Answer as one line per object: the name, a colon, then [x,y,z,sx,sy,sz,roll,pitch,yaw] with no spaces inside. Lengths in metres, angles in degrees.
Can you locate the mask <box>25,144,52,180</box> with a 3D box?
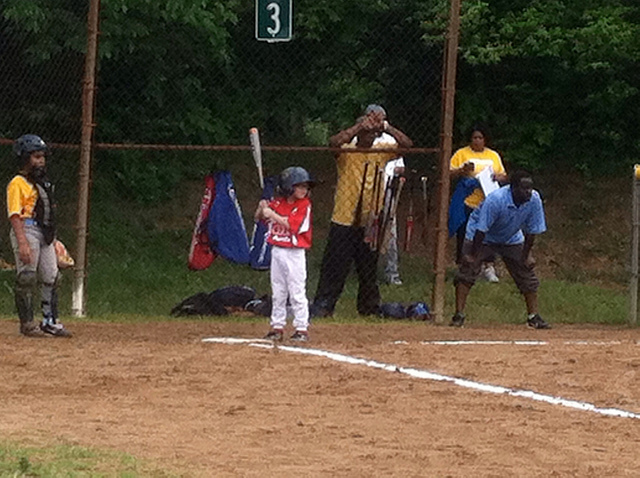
mask: [-3.093,-0.849,13.435,0.161,0.380,0.332,5,13,21]

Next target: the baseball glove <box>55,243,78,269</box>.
baseball glove: [-3.133,0.236,15.088,0.124,0.328,0.241,-20,-4,32]

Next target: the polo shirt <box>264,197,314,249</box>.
polo shirt: [-0.351,-0.194,13.235,0.503,0.607,0.384,7,0,25]

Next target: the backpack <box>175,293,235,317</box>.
backpack: [-1.478,0.899,15.559,0.547,0.144,0.332,1,28,-33]

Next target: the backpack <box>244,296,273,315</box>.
backpack: [-0.753,0.872,15.539,0.254,0.144,0.358,-10,6,-39]

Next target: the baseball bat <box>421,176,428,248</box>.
baseball bat: [1.809,-0.572,20.667,0.131,1.074,0.125,-7,18,-12]

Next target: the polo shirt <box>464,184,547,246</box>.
polo shirt: [2.268,-0.293,14.795,0.951,0.783,0.661,-1,16,-20]

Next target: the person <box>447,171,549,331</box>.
person: [2.243,0.153,14.716,1.172,2.001,0.507,1,12,6]

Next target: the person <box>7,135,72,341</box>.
person: [-3.114,-0.012,13.463,0.600,2.211,0.544,-3,12,-16]
